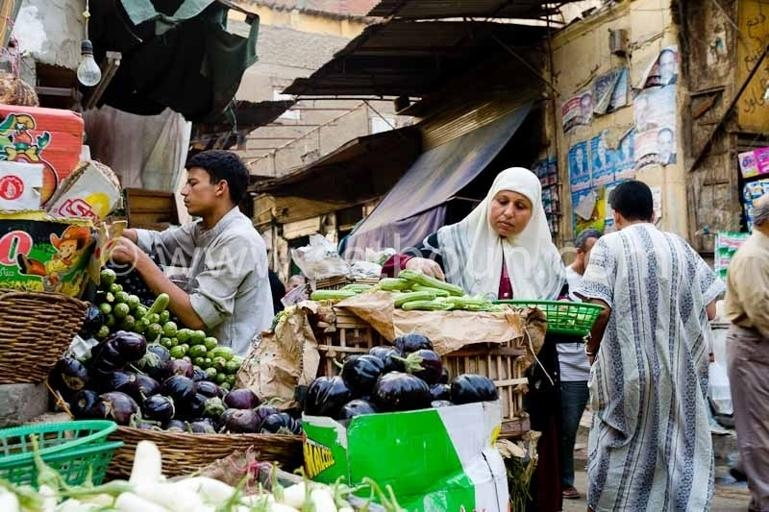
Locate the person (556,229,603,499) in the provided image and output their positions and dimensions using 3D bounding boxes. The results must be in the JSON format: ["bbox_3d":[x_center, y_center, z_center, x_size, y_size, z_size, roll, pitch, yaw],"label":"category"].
[{"bbox_3d":[1.721,1.084,8.776,0.609,2.643,0.606,-1,2,1],"label":"person"}]

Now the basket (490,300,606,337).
[{"bbox_3d":[1.123,0.425,6.389,0.617,0.214,0.287,5,-12,-15],"label":"basket"}]
